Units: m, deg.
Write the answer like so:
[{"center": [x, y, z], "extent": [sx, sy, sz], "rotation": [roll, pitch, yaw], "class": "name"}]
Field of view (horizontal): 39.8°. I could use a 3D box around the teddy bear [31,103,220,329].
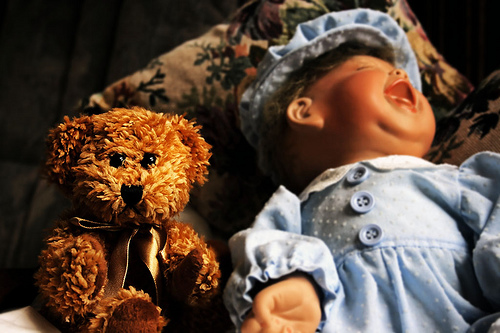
[{"center": [-0.302, 0.101, 1.893], "extent": [0.467, 0.632, 0.526], "rotation": [0, 3, -19], "class": "teddy bear"}]
